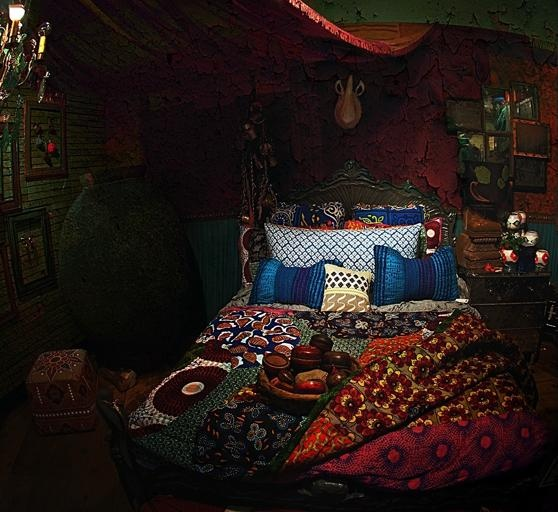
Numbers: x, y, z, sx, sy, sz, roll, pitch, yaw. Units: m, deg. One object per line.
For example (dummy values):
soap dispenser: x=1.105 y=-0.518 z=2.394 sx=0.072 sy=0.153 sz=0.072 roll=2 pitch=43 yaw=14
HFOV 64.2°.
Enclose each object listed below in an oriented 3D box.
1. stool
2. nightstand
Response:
stool: x=-0.978 y=0.673 z=2.297 sx=0.418 sy=0.328 sz=0.365 roll=-1 pitch=19 yaw=-6
nightstand: x=1.358 y=0.404 z=2.839 sx=0.746 sy=0.580 sz=0.485 roll=0 pitch=10 yaw=4
